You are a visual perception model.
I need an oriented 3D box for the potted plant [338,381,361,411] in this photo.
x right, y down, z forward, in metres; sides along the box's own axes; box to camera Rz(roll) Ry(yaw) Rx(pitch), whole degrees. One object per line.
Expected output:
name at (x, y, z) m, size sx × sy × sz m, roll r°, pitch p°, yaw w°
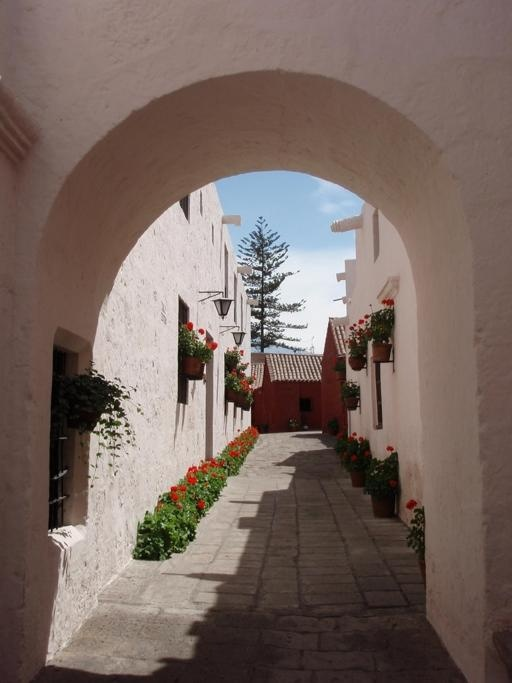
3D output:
potted plant at (1.960, 1.135, 11.987) m, size 0.440 × 0.707 × 0.512 m, roll -6°, pitch -8°, yaw 24°

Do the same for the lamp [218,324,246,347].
lamp at (-0.578, -0.166, 13.201) m, size 0.561 × 0.411 × 0.384 m, roll 0°, pitch -2°, yaw 32°

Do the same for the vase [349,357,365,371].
vase at (1.736, 0.376, 9.985) m, size 0.210 × 0.178 × 0.232 m, roll 1°, pitch -10°, yaw 1°

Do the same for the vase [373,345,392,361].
vase at (1.593, 0.162, 7.301) m, size 0.187 × 0.168 × 0.199 m, roll 5°, pitch -7°, yaw -21°

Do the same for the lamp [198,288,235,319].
lamp at (-0.598, -0.623, 9.043) m, size 0.448 × 0.453 × 0.606 m, roll 3°, pitch 0°, yaw -42°

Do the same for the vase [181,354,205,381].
vase at (-0.813, 0.342, 7.587) m, size 0.226 × 0.281 × 0.358 m, roll -2°, pitch -7°, yaw 22°

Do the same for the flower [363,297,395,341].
flower at (1.621, -0.301, 7.445) m, size 0.346 × 0.536 × 0.371 m, roll 9°, pitch -4°, yaw -21°

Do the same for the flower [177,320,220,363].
flower at (-0.831, -0.057, 7.708) m, size 0.505 × 0.413 × 0.503 m, roll 6°, pitch -8°, yaw -10°
